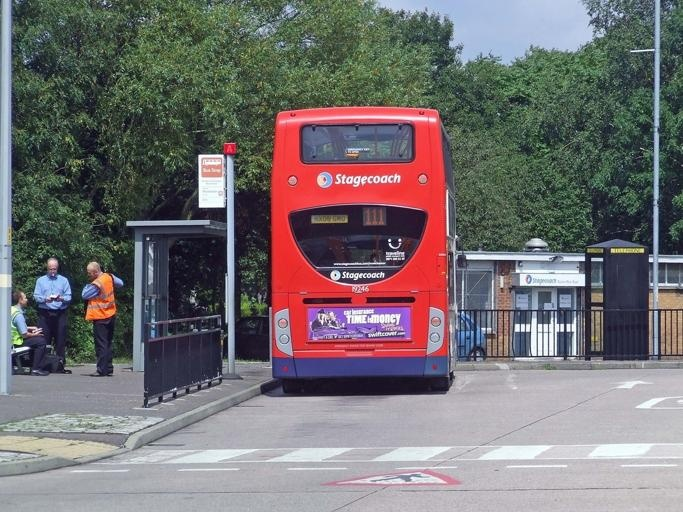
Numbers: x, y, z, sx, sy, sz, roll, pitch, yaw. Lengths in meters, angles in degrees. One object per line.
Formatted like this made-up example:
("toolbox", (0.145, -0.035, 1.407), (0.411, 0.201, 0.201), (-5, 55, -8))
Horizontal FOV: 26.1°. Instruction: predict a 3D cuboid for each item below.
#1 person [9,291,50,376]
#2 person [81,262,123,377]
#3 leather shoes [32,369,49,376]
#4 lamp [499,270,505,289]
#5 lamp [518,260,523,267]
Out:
("person", (-7.357, 1.801, 34.990), (0.846, 1.922, 0.904), (-1, 8, -13))
("person", (-5.676, 1.474, 35.141), (0.863, 2.697, 0.963), (0, 8, -7))
("leather shoes", (-7.102, 2.706, 34.899), (0.367, 0.159, 0.141), (-1, 0, -5))
("lamp", (5.704, 0.853, 52.360), (0.211, 0.458, 0.052), (-1, 8, -16))
("lamp", (6.325, 0.247, 52.130), (0.189, 0.241, 0.087), (1, 8, -3))
